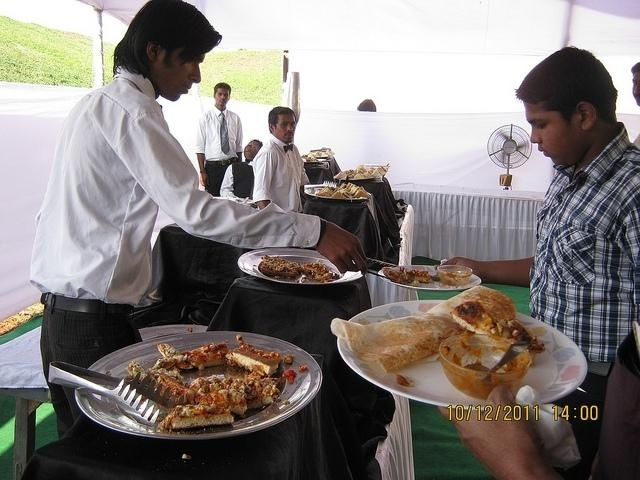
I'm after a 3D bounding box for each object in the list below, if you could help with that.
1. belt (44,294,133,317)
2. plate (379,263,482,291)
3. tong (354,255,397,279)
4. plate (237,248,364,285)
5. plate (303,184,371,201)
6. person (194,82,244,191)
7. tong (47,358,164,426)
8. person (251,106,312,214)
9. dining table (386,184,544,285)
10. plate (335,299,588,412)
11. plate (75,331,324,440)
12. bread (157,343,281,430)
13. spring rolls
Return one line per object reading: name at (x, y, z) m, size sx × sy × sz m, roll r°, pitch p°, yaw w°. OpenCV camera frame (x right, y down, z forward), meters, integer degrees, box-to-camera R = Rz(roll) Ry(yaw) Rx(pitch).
belt at (-0.838, 0.234, 1.560) m, size 0.219 × 0.086 × 0.213 m, roll 8°, pitch 11°, yaw 38°
plate at (0.427, 0.115, 1.724) m, size 0.336 × 0.103 × 0.339 m, roll 0°, pitch 9°, yaw -15°
tong at (0.233, 0.125, 1.852) m, size 0.182 × 0.042 × 0.116 m, roll 18°, pitch 28°, yaw 1°
plate at (-0.074, 0.114, 1.687) m, size 0.270 × 0.086 × 0.325 m, roll -3°, pitch 13°, yaw -30°
plate at (0.132, -0.389, 3.518) m, size 0.356 × 0.070 × 0.232 m, roll 10°, pitch 16°, yaw 35°
person at (-1.750, -1.379, 7.240) m, size 0.764 × 2.345 × 0.479 m, roll -9°, pitch 29°, yaw -31°
tong at (-0.449, 0.322, 0.912) m, size 0.271 × 0.069 × 0.063 m, roll 9°, pitch 14°, yaw 16°
person at (-0.409, -0.779, 4.457) m, size 0.624 × 1.334 × 0.661 m, roll 6°, pitch 12°, yaw 23°
dining table at (1.634, -0.109, 4.781) m, size 1.421 × 0.697 × 0.244 m, roll 5°, pitch 24°, yaw 15°
plate at (0.341, 0.198, 1.212) m, size 0.645 × 0.321 × 0.514 m, roll -4°, pitch 11°, yaw -23°
plate at (-0.322, 0.362, 1.064) m, size 0.596 × 0.588 × 0.057 m, roll -14°, pitch 57°, yaw -6°
bread at (-0.227, 0.331, 1.000) m, size 0.284 × 0.054 × 0.281 m, roll 0°, pitch 14°, yaw -19°
spring rolls at (0.302, 0.256, 1.214) m, size 0.405 × 0.094 × 0.242 m, roll -17°, pitch 3°, yaw -33°
